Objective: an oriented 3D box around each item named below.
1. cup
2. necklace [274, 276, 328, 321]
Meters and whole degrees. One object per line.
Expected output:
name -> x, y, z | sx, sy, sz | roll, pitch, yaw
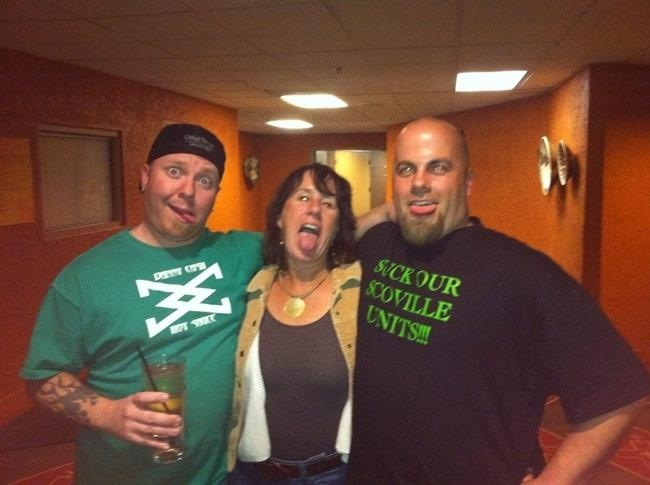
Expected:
cup -> -0.770, 0.776, 2.323 | 0.241, 0.491, 0.138 | 9, 11, 41
necklace -> -0.152, 0.284, 2.738 | 0.156, 0.045, 0.263 | 3, 48, 11
